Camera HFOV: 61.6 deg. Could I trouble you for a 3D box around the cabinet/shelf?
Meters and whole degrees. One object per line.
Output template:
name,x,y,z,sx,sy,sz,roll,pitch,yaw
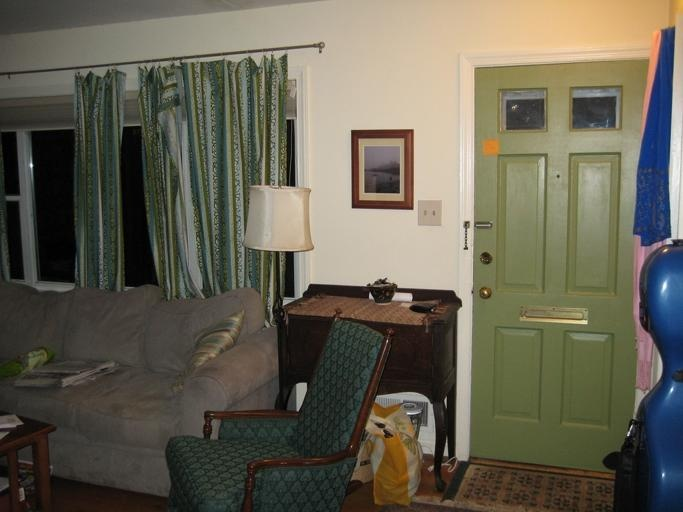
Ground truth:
cabinet/shelf,0.179,0.785,3.378,1.141,1.208,0.550,1,3,20

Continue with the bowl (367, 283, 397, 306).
bowl,0.272,0.246,3.744,0.134,0.098,0.140,0,-2,0

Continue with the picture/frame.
picture/frame,0.301,-0.618,3.914,0.490,0.628,0.047,2,7,17

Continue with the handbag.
handbag,0.324,1.222,3.478,0.338,0.584,0.646,-5,6,10
